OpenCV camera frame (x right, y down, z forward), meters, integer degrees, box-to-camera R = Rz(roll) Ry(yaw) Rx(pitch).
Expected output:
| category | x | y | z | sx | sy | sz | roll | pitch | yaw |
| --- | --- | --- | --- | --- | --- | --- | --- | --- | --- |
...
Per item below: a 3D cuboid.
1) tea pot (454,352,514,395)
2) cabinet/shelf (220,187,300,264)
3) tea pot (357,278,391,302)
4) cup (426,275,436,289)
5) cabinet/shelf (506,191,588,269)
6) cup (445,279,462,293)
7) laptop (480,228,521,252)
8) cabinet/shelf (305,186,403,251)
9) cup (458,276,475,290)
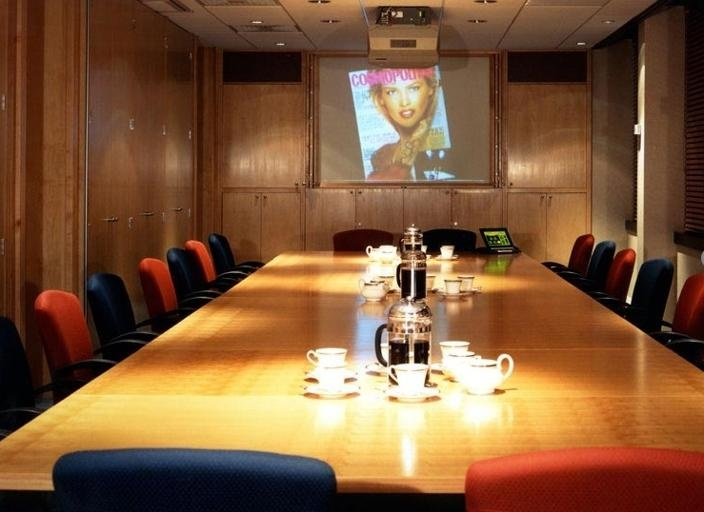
| category | x | y | z | sx | sy | sz | roll | pitch | yaw |
| --- | --- | --- | --- | --- | --- | --- | --- | --- | --- |
| tea pot | 0.453 | 0.395 | 1.914 | 0.177 | 0.125 | 0.134 | 1 | -5 | 2 |
| cabinet/shelf | -1.442 | -0.552 | 8.858 | 1.153 | 1.128 | 0.418 | 1 | 5 | 2 |
| tea pot | 0.138 | 0.210 | 3.454 | 0.155 | 0.110 | 0.127 | -1 | 1 | 7 |
| cup | 0.536 | 0.181 | 3.781 | 0.077 | 0.069 | 0.084 | 0 | -5 | 0 |
| cabinet/shelf | 2.926 | -0.462 | 8.350 | 1.112 | 1.101 | 0.421 | 0 | 5 | 4 |
| cup | 0.650 | 0.197 | 3.561 | 0.088 | 0.070 | 0.089 | 0 | -4 | 0 |
| laptop | 1.655 | -0.168 | 6.207 | 0.401 | 0.245 | 0.374 | -1 | 8 | -14 |
| cabinet/shelf | 0.088 | -0.623 | 8.623 | 1.016 | 0.997 | 0.385 | 1 | 3 | 2 |
| cup | 0.766 | 0.179 | 3.705 | 0.111 | 0.087 | 0.114 | 0 | -4 | 0 |
